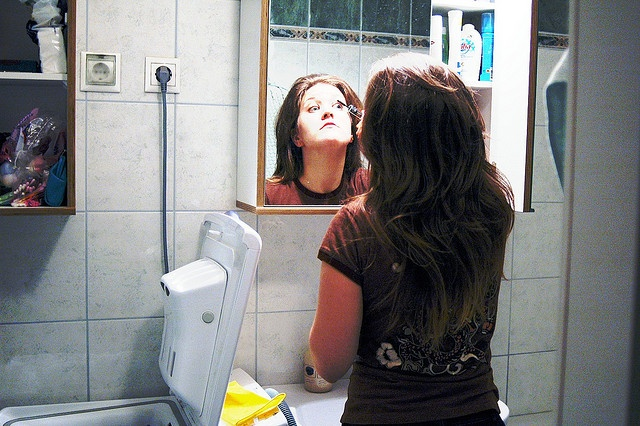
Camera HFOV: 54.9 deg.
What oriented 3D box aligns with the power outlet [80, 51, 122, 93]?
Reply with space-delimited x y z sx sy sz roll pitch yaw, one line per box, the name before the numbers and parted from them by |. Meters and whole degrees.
power outlet | -0.743 -0.477 2.055 0.137 0.141 0.020 0 6 -9
